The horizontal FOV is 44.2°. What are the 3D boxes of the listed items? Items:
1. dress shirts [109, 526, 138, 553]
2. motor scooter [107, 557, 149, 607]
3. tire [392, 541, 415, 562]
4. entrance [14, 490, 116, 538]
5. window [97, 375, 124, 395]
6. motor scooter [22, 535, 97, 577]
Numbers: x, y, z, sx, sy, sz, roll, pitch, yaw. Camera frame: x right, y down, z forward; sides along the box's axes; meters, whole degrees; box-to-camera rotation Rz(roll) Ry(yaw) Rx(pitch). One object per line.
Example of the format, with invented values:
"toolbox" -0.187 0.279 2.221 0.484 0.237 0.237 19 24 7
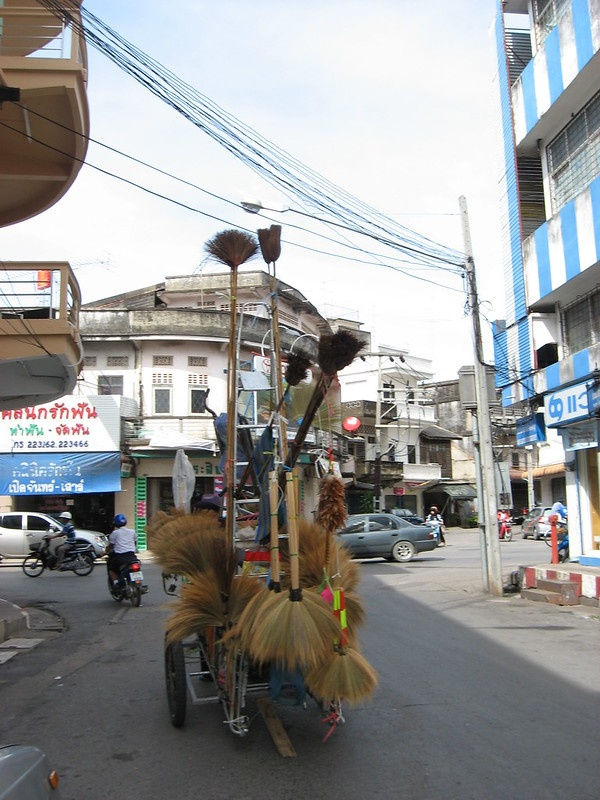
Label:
"dress shirts" -2.696 2.188 11.461 0.447 0.405 0.357 4 -11 -31
"motor scooter" -2.584 2.844 11.467 0.443 0.553 0.888 5 -13 -27
"tire" 2.593 3.807 18.572 0.561 0.518 0.193 2 -12 -22
"entrance" -7.492 3.781 23.829 2.732 1.352 2.487 0 1 -17
"window" -6.324 -0.463 24.630 0.759 0.656 0.093 1 -27 -14
"motor scooter" -5.077 3.417 15.937 1.672 0.998 0.774 2 -26 -5
